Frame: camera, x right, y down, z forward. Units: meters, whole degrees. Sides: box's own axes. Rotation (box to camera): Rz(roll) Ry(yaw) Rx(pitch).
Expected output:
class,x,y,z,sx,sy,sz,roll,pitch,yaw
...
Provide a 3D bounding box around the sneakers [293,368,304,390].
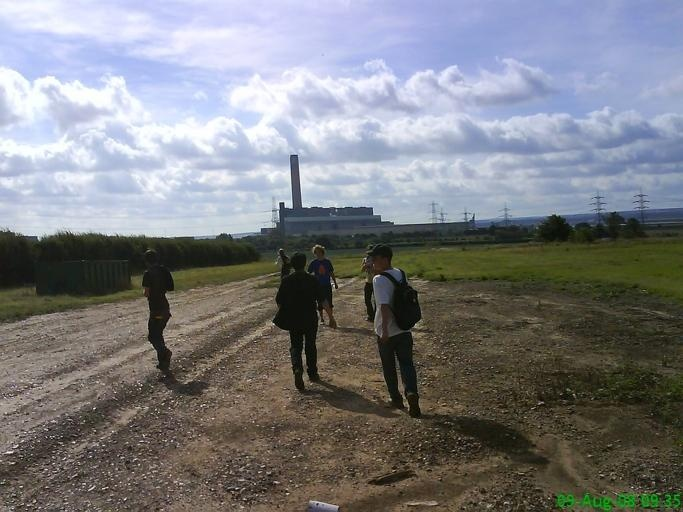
class,x,y,z,sx,sy,sz,roll,pitch,yaw
sneakers,-0.803,2.347,9.226,0.180,0.354,0.229,-12,-5,-13

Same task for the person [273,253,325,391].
class,x,y,z,sx,sy,sz,roll,pitch,yaw
person,-0.856,1.220,9.579,0.788,2.581,1.071,0,5,21

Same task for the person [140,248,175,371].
class,x,y,z,sx,sy,sz,roll,pitch,yaw
person,-4.168,1.177,10.976,0.622,2.673,0.926,-4,5,-21

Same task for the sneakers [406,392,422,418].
class,x,y,z,sx,sy,sz,roll,pitch,yaw
sneakers,1.162,2.375,7.747,0.174,0.428,0.189,-13,-2,3
